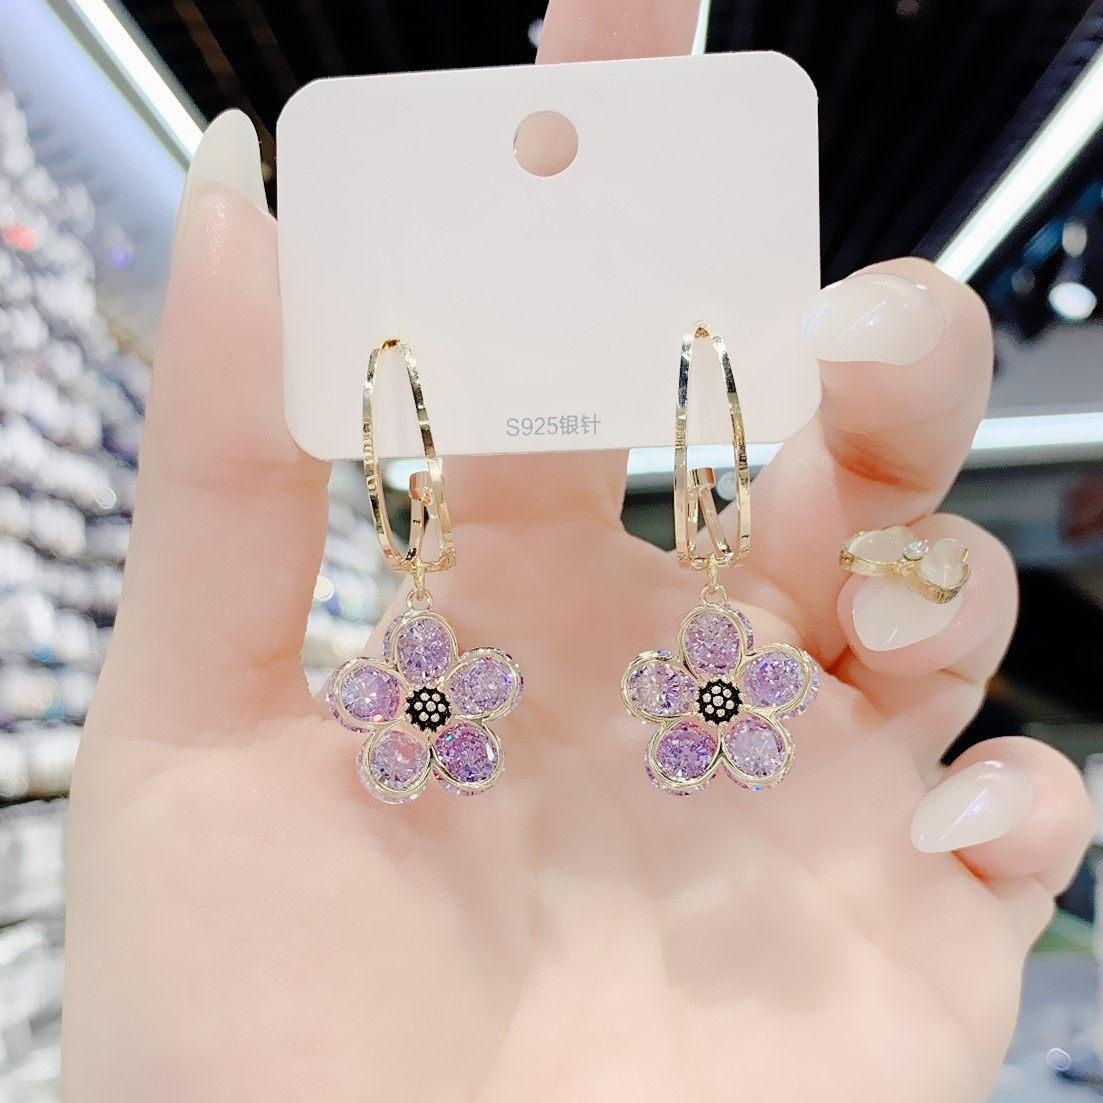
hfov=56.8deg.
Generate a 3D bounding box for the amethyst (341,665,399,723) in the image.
[{"bbox_3d":[-0.146,0.118,0.830,0.053,0.028,0.056,3,76,3],"label":"amethyst"}]

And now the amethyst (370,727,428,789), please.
[{"bbox_3d":[-0.117,0.165,0.801,0.038,0.019,0.045,5,72,-25],"label":"amethyst"}]
